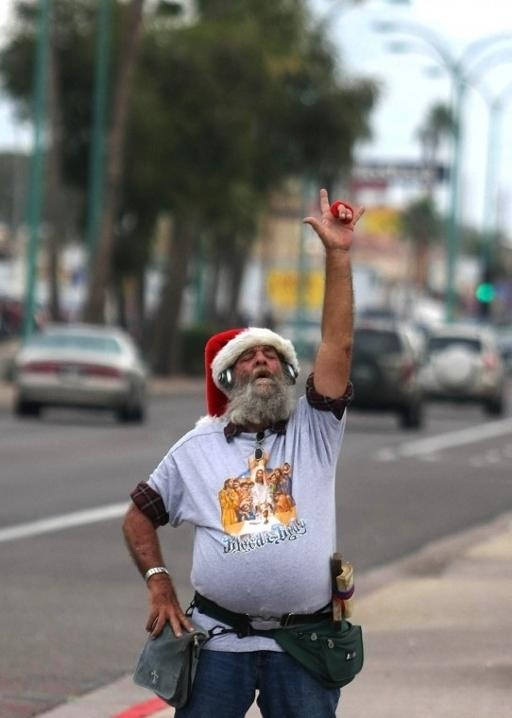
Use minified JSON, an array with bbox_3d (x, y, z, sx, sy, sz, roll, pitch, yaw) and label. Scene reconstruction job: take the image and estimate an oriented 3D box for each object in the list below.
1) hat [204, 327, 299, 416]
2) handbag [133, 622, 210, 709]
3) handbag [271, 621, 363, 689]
[{"bbox_3d":[-0.051,0.039,4.102,0.222,0.300,0.131,-1,16,-7],"label":"hat"},{"bbox_3d":[-0.243,0.858,3.825,0.212,0.231,0.103,1,4,4],"label":"handbag"},{"bbox_3d":[0.177,0.801,3.843,0.216,0.144,0.181,9,3,34],"label":"handbag"}]
